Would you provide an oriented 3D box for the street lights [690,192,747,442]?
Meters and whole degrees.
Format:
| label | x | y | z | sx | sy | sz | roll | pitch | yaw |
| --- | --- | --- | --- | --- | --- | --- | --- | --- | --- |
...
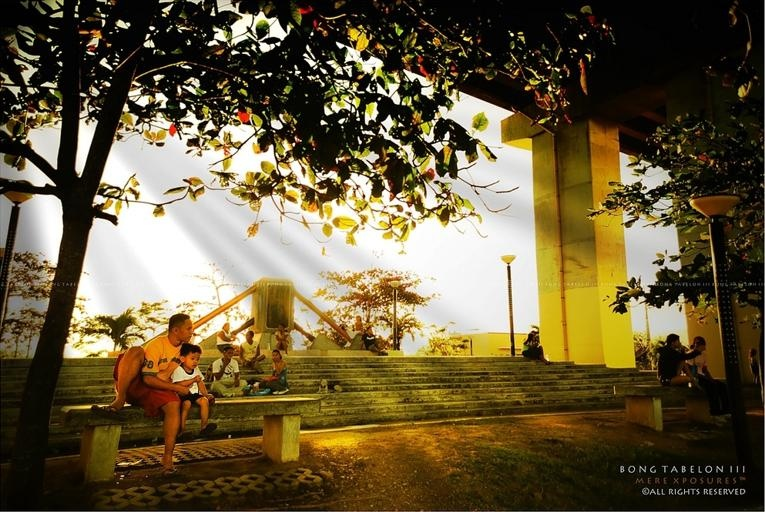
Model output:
| label | x | y | z | sx | sy | sz | roll | pitch | yaw |
| --- | --- | --- | --- | --- | --- | --- | --- | --- | --- |
| street lights | 5.102 | 0.903 | 7.899 | 0.659 | 3.660 | 0.684 | 0 | -2 | 34 |

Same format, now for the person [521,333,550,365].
| label | x | y | z | sx | sy | sz | roll | pitch | yaw |
| --- | --- | --- | --- | --- | --- | --- | --- | --- | --- |
| person | 5.465 | 3.247 | 18.851 | 0.812 | 1.040 | 0.973 | 1 | -2 | 13 |

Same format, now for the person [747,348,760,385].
| label | x | y | z | sx | sy | sz | roll | pitch | yaw |
| --- | --- | --- | --- | --- | --- | --- | --- | --- | --- |
| person | 9.841 | 2.956 | 13.811 | 0.209 | 0.986 | 0.887 | 0 | -2 | 35 |
